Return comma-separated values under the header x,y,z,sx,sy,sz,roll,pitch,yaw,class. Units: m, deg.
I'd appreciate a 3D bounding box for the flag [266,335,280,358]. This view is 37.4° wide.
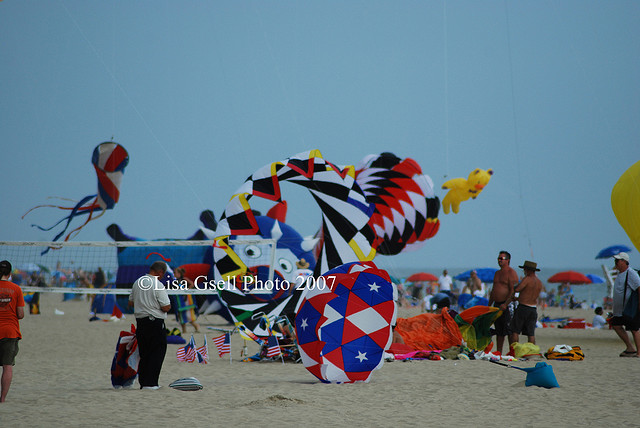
x,y,z,sx,sy,sz,roll,pitch,yaw,class
-0.830,2.389,17.133,0.226,0.387,0.275,-1,-7,-4,flag

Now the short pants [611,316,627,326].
x,y,z,sx,sy,sz,roll,pitch,yaw,class
5.499,1.982,17.429,0.212,0.329,0.165,-3,-10,6,short pants

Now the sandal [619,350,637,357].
x,y,z,sx,sy,sz,roll,pitch,yaw,class
5.701,2.564,17.428,0.282,0.092,0.118,0,-3,-3,sandal

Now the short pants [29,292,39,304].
x,y,z,sx,sy,sz,roll,pitch,yaw,class
-7.758,2.303,25.832,0.229,0.295,0.461,1,-8,-20,short pants

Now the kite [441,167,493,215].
x,y,z,sx,sy,sz,roll,pitch,yaw,class
2.920,-0.444,18.996,1.011,0.814,0.900,-5,-7,19,kite

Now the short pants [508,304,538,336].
x,y,z,sx,sy,sz,roll,pitch,yaw,class
3.777,1.928,17.380,0.534,0.589,0.307,12,2,-26,short pants

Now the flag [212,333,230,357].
x,y,z,sx,sy,sz,roll,pitch,yaw,class
-1.801,2.443,17.511,0.380,0.600,0.057,-8,-4,9,flag

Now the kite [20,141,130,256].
x,y,z,sx,sy,sz,roll,pitch,yaw,class
-4.371,-0.372,17.220,1.565,2.258,0.738,11,15,-15,kite

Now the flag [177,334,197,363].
x,y,z,sx,sy,sz,roll,pitch,yaw,class
-2.473,2.528,17.720,0.330,0.562,0.042,4,-9,0,flag

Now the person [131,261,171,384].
x,y,z,sx,sy,sz,roll,pitch,yaw,class
-2.646,1.708,14.877,0.598,1.876,0.362,-1,-6,-7,person

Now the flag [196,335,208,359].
x,y,z,sx,sy,sz,roll,pitch,yaw,class
-2.099,2.414,17.089,0.178,0.377,0.691,-1,-7,-7,flag

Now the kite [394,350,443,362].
x,y,z,sx,sy,sz,roll,pitch,yaw,class
1.796,2.623,17.327,0.804,0.278,0.052,-12,-50,6,kite

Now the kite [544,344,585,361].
x,y,z,sx,sy,sz,roll,pitch,yaw,class
4.447,2.520,17.178,0.706,0.274,0.454,-4,-8,15,kite

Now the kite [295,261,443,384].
x,y,z,sx,sy,sz,roll,pitch,yaw,class
0.841,1.918,15.691,1.822,1.732,1.053,15,-5,-32,kite

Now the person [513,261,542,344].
x,y,z,sx,sy,sz,roll,pitch,yaw,class
3.830,1.630,17.432,0.554,1.477,0.822,-4,-7,17,person

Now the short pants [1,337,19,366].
x,y,z,sx,sy,sz,roll,pitch,yaw,class
-4.675,2.075,14.344,0.258,0.408,0.148,2,-7,-27,short pants
